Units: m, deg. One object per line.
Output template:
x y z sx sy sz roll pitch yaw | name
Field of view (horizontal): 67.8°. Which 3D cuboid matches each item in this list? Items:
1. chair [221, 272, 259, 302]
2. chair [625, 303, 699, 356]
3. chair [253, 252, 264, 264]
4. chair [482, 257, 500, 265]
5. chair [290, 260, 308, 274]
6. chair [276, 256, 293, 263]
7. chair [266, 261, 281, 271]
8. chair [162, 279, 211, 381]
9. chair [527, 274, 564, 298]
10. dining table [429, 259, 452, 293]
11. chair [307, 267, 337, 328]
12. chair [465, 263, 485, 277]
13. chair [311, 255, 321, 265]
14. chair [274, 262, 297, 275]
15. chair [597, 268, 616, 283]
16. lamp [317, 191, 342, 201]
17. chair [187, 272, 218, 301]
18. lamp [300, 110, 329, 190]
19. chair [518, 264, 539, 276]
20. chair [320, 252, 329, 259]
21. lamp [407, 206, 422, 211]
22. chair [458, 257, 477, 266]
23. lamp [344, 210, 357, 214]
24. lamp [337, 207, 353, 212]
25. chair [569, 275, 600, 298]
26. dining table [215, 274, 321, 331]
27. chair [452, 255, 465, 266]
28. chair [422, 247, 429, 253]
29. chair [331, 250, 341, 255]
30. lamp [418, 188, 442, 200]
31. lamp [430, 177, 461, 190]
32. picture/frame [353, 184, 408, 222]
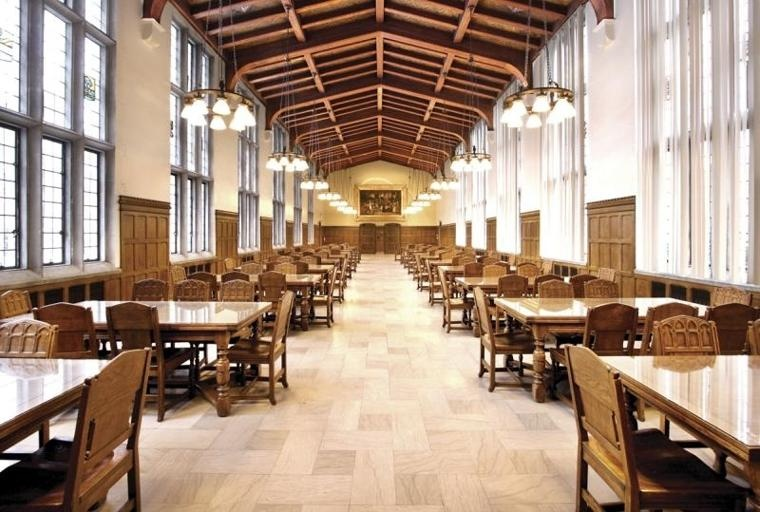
-2.068 0.468 8.351 0.378 0.351 0.689 0 -2 -4 | chair
3.110 0.770 6.372 0.387 0.615 0.405 3 22 -5 | chair
-3.376 0.045 15.439 0.312 0.476 0.338 1 -6 -15 | chair
2.431 0.106 12.700 0.252 0.153 0.238 -1 -7 5 | chair
-1.608 0.227 11.246 0.384 0.275 0.205 1 -2 -8 | chair
-2.257 0.066 13.237 0.226 0.108 0.289 1 5 9 | chair
-2.212 0.217 11.591 0.235 0.206 0.331 1 -2 -17 | chair
-2.668 0.707 7.717 0.589 0.980 0.591 0 -21 -18 | chair
2.586 0.539 8.925 0.621 0.442 0.336 0 -2 0 | chair
1.285 0.400 13.239 0.635 0.989 1.038 0 1 -4 | dining table
-1.191 0.752 10.933 0.730 1.061 0.695 2 1 -3 | chair
1.786 0.271 10.860 0.435 0.301 0.230 0 8 1 | chair
-1.559 0.095 13.552 0.164 0.288 0.301 -4 5 -39 | chair
-1.855 0.251 10.927 0.424 0.300 0.224 1 -4 -4 | chair
3.687 0.317 9.224 0.209 0.205 0.156 7 13 23 | chair
-2.203 -2.221 20.932 0.891 0.266 0.852 -1 0 19 | lamp
-2.719 0.471 8.550 0.338 0.538 0.335 3 19 -8 | chair
-1.968 -2.903 16.691 0.792 1.848 0.781 4 4 1 | lamp
2.741 0.174 10.489 0.370 0.360 0.203 1 8 9 | chair
-1.650 -0.028 16.150 0.309 0.167 0.211 -2 3 -37 | chair
1.573 -2.303 27.383 0.726 0.174 0.715 0 0 -14 | lamp
1.951 0.098 13.011 0.294 0.143 0.207 -1 -3 3 | chair
-1.643 -2.329 29.812 0.918 0.216 0.914 1 2 13 | lamp
-1.758 -2.153 25.621 0.730 0.179 0.724 0 0 6 | lamp
3.042 0.464 8.454 0.290 0.280 0.164 2 11 10 | chair
-1.862 0.846 10.377 1.127 0.737 1.403 4 -6 -12 | dining table
1.783 0.109 13.065 0.313 0.292 0.216 1 6 10 | chair
1.651 -0.230 21.272 0.242 0.154 0.244 -1 0 4 | chair
-1.613 -0.124 19.833 0.277 0.154 0.194 0 -3 -3 | chair
1.975 -2.403 22.621 0.806 0.413 0.795 -1 4 -8 | lamp
1.824 -2.074 16.434 1.068 0.377 1.057 1 7 5 | lamp
-0.025 -3.497 36.160 2.618 1.876 0.176 0 1 -3 | picture/frame
